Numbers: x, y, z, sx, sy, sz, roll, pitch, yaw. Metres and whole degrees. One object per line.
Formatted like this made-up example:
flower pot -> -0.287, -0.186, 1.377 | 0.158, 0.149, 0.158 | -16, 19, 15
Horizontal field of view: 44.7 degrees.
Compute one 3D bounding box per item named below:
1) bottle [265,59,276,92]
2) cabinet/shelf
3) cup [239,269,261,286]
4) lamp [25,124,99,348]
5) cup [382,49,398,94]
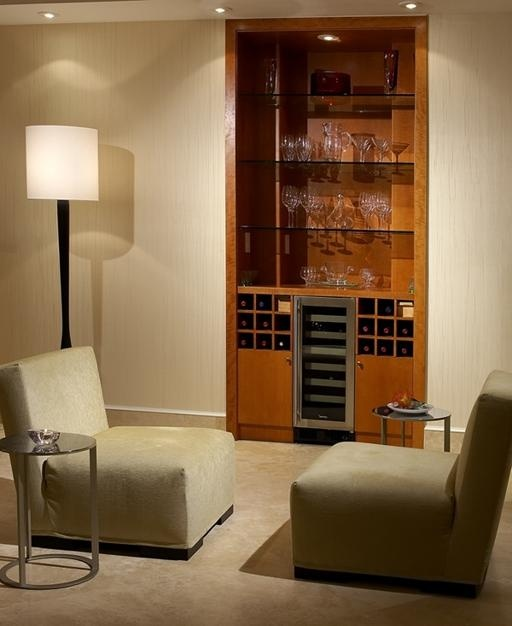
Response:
bottle -> 0.103, -1.585, 4.172 | 0.066, 0.199, 0.106 | 1, 8, 0
cabinet/shelf -> 0.510, -0.505, 4.280 | 1.362, 2.762, 0.766 | 3, 8, 15
cup -> -0.046, -0.247, 4.301 | 0.098, 0.088, 0.109 | 2, 7, 14
lamp -> -1.228, -0.486, 3.968 | 0.431, 1.396, 0.438 | -2, 9, -22
cup -> 0.890, -1.581, 4.056 | 0.095, 0.287, 0.244 | 3, 9, 13
